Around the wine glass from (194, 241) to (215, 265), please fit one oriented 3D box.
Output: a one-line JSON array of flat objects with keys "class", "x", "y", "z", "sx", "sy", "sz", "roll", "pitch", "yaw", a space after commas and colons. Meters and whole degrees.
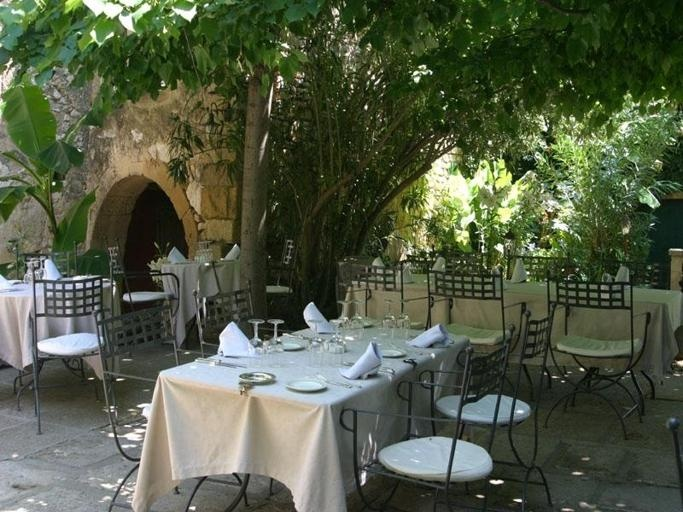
[{"class": "wine glass", "x": -1.954, "y": -0.049, "z": 8.331, "sx": 0.294, "sy": 0.522, "sz": 0.319, "roll": -1, "pitch": 8, "yaw": -21}]
